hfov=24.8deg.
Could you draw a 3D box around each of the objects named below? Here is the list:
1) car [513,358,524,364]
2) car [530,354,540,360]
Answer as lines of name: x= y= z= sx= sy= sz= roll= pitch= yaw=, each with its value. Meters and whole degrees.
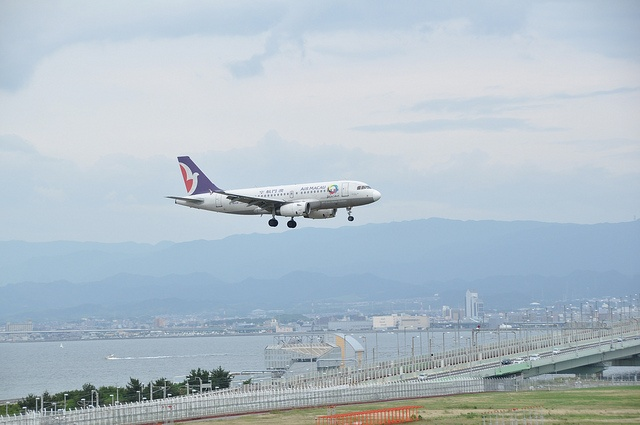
car: x=74.129 y=55.941 z=547.654 sx=1.985 sy=1.248 sz=2.782 roll=3 pitch=11 yaw=0
car: x=80.741 y=54.573 z=550.747 sx=3.676 sy=2.111 sz=4.530 roll=-4 pitch=-10 yaw=7
